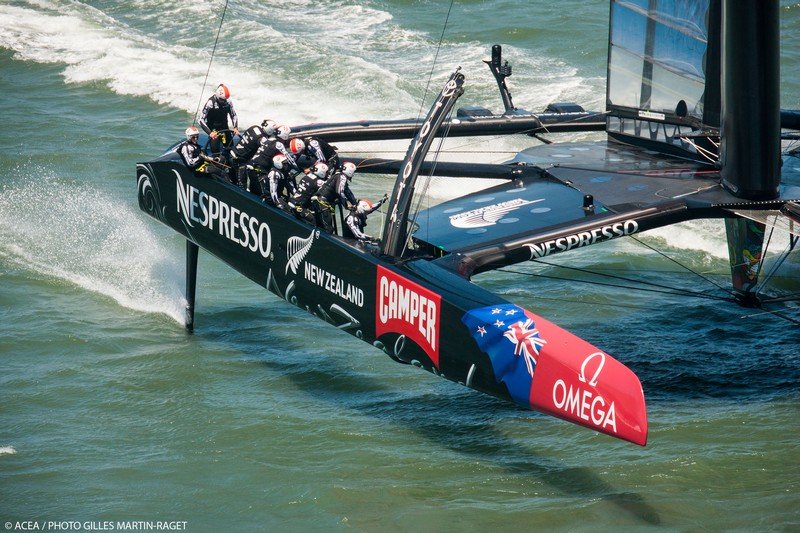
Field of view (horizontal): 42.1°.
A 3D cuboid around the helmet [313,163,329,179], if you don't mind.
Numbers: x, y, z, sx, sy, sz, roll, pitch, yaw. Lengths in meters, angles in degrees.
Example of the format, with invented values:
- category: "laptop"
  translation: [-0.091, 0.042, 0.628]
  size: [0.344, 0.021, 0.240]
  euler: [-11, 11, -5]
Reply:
- category: "helmet"
  translation: [-0.791, -0.968, 10.435]
  size: [0.111, 0.164, 0.134]
  euler: [3, 15, 10]

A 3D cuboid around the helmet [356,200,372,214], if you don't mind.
- category: "helmet"
  translation: [-0.341, -0.583, 10.134]
  size: [0.145, 0.136, 0.164]
  euler: [0, 13, -2]

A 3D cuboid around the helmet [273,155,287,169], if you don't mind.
- category: "helmet"
  translation: [-1.235, -1.078, 10.668]
  size: [0.125, 0.149, 0.160]
  euler: [5, 15, 18]
